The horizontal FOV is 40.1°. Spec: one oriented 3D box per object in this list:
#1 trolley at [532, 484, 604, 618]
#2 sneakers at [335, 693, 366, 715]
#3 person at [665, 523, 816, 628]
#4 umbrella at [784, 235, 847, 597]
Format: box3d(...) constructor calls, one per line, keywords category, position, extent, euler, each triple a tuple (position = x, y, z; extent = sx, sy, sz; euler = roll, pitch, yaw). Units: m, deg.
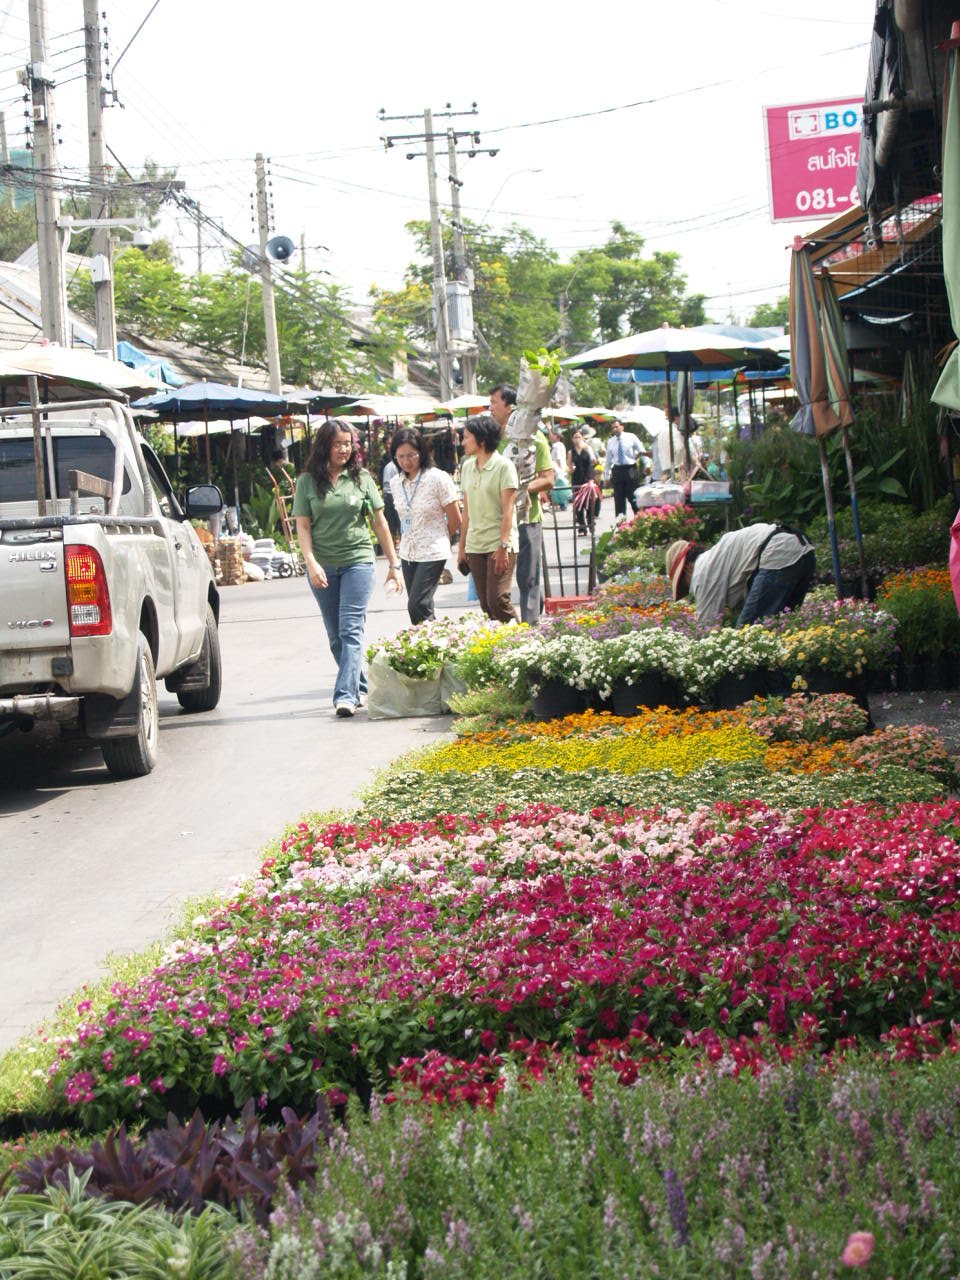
box3d(category="trolley", position=(1.097, -1.036, 16.696), extent=(0.764, 1.219, 0.793), euler=(-11, 10, -11))
box3d(category="sneakers", position=(-1.024, 0.496, 10.283), extent=(0.203, 0.163, 0.485), euler=(-5, 5, 3))
box3d(category="person", position=(1.891, -0.431, 9.714), extent=(1.010, 0.801, 1.228), euler=(-14, 12, -38))
box3d(category="umbrella", position=(2.760, -1.838, 10.547), extent=(0.531, 2.705, 0.441), euler=(-15, 26, -5))
